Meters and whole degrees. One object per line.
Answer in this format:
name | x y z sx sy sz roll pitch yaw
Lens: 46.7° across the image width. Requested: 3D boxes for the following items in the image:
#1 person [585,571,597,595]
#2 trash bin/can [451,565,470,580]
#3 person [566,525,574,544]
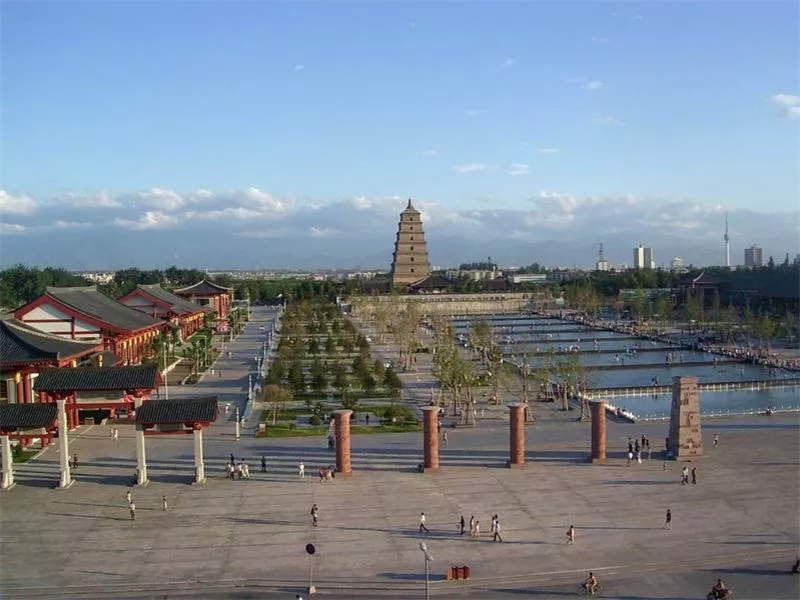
person | 7.463 10.898 36.136 0.450 0.793 1.006 2 10 13
trash bin/can | 2.371 10.906 36.971 0.833 0.764 0.449 1 -10 -6
person | 7.289 9.863 39.701 0.300 0.679 1.349 1 10 10
